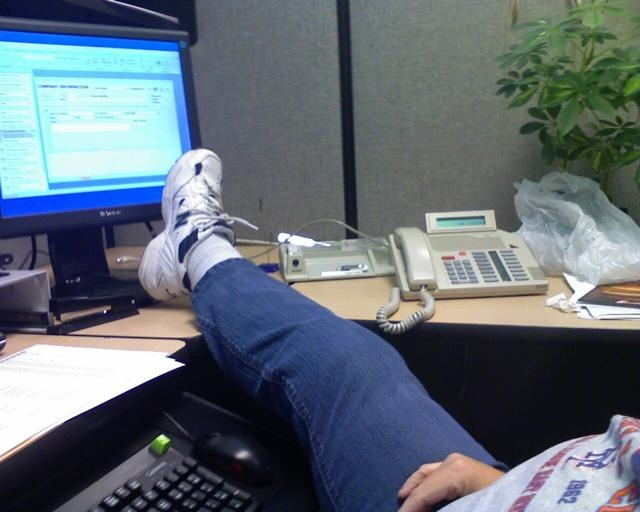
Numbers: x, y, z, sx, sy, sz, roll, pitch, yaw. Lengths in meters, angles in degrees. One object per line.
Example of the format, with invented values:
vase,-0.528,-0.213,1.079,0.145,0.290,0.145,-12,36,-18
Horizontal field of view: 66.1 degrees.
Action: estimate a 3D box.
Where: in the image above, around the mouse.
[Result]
mouse,-0.119,0.258,0.671,0.095,0.035,0.049,23,22,20
